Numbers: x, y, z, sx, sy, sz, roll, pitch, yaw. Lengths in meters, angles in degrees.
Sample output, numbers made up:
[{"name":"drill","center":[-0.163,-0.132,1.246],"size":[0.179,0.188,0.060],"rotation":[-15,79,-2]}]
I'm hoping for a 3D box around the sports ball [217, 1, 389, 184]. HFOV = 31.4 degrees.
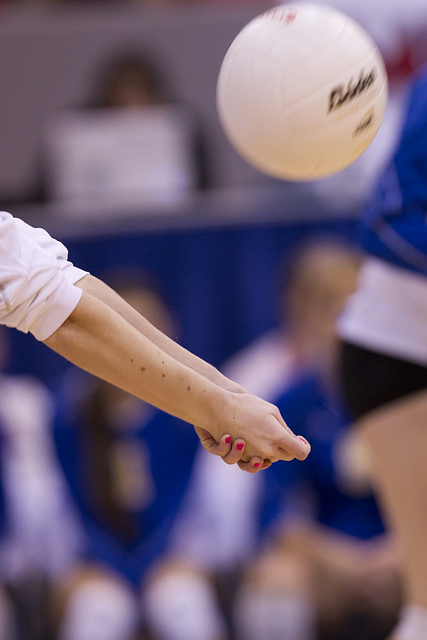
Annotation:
[{"name":"sports ball","center":[0.091,-0.229,0.782],"size":[0.169,0.155,0.132],"rotation":[-10,50,-3]}]
